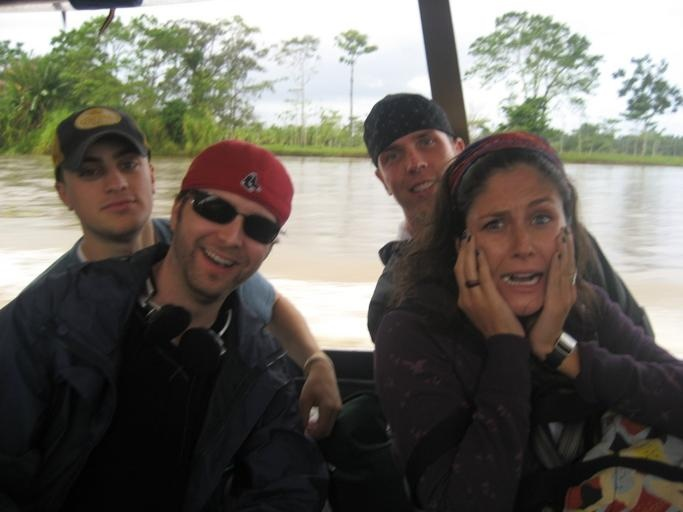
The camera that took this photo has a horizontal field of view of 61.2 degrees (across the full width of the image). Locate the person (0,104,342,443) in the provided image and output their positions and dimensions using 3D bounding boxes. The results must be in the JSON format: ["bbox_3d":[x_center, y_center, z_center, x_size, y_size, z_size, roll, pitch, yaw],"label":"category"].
[{"bbox_3d":[-0.643,-0.027,2.588,1.577,0.983,1.148,27,28,37],"label":"person"}]

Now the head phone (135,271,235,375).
[{"bbox_3d":[-0.620,0.262,2.215,0.340,0.147,0.370,27,21,-10],"label":"head phone"}]

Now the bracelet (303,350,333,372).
[{"bbox_3d":[-0.110,0.472,2.548,0.123,0.032,0.113,2,36,3],"label":"bracelet"}]

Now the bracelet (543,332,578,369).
[{"bbox_3d":[0.786,0.344,2.065,0.064,0.092,0.100,43,19,16],"label":"bracelet"}]

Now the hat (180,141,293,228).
[{"bbox_3d":[-0.436,-0.295,2.336,0.365,0.222,0.359,30,-4,-25],"label":"hat"}]
